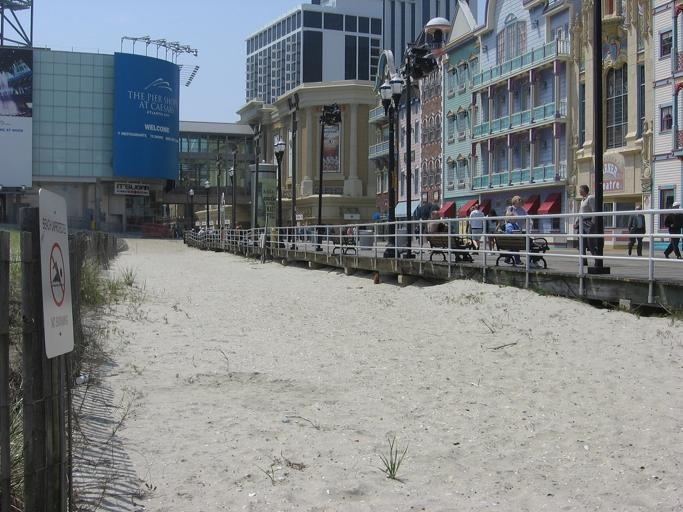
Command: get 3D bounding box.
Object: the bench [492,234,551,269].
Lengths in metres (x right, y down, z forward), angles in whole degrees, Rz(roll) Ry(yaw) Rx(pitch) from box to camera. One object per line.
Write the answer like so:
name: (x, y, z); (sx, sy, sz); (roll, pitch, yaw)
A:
bench: (3.996, -0.124, 18.875); (1.316, 0.806, 0.560); (2, -5, -41)

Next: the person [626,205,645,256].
person: (5.621, -0.491, 16.060); (0.303, 0.829, 1.487); (2, 10, 20)

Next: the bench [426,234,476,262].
bench: (2.769, -0.205, 21.462); (1.099, 0.899, 2.291); (-1, 10, 4)

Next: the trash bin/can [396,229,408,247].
trash bin/can: (1.759, -0.510, 24.219); (0.364, 0.595, 1.143); (-1, 10, 5)
